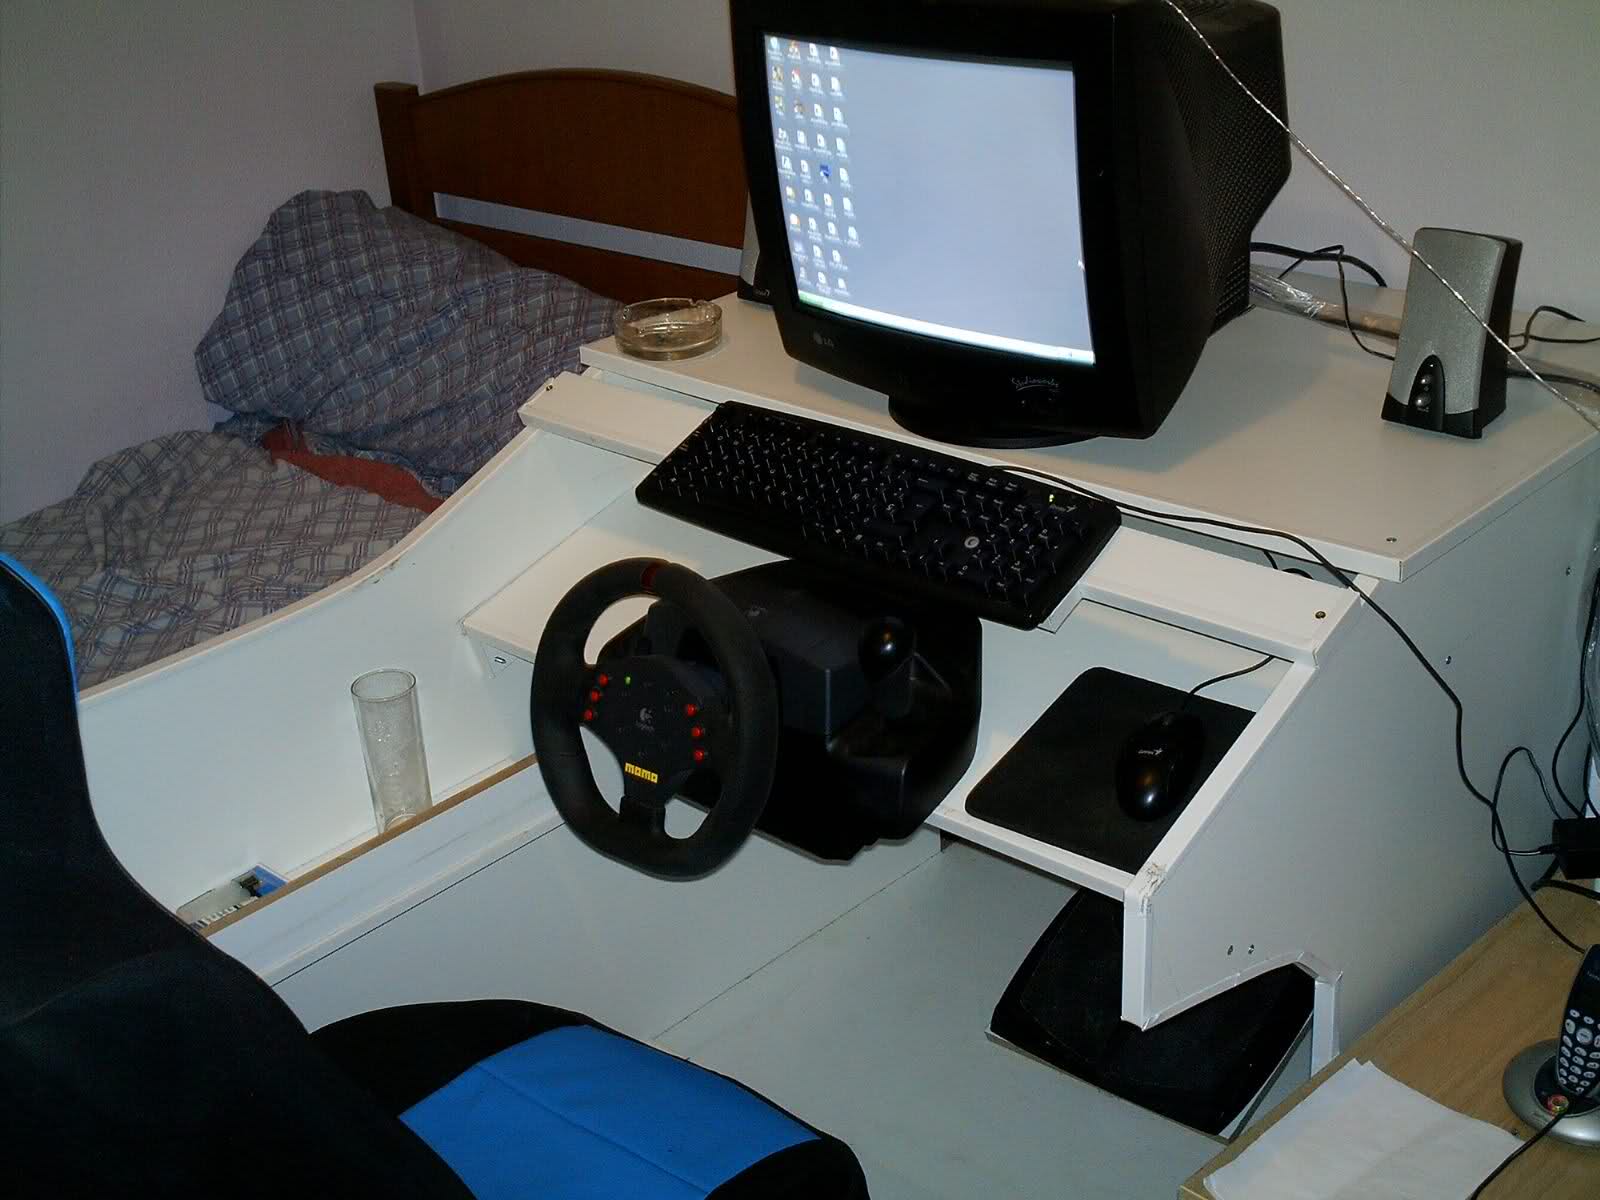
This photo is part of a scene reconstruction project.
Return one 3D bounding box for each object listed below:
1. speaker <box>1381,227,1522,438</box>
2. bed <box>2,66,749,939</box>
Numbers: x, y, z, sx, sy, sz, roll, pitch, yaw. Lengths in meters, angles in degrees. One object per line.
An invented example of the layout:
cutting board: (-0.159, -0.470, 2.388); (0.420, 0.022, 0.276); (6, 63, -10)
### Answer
speaker: (0.650, -0.276, 1.271); (0.121, 0.200, 0.125); (14, 15, 25)
bed: (-0.654, -0.469, 2.480); (1.261, 0.854, 1.373); (13, 38, 20)
